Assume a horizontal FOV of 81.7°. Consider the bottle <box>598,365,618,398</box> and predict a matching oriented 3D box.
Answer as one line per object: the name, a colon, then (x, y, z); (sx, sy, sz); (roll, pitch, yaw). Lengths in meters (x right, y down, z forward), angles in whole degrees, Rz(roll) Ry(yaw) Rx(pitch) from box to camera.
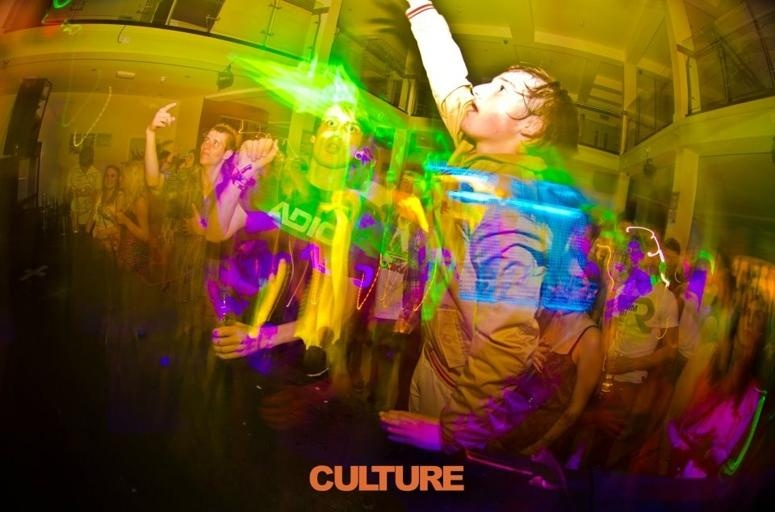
bottle: (1.185, 0.684, 2.426); (0.094, 0.164, 0.016); (4, 0, -12)
